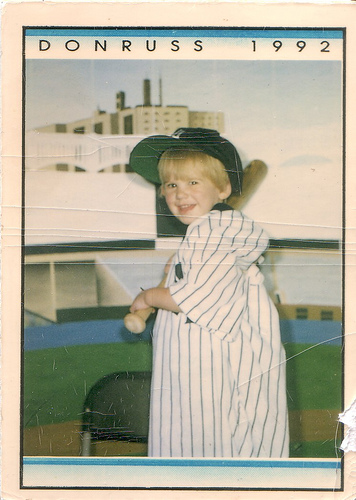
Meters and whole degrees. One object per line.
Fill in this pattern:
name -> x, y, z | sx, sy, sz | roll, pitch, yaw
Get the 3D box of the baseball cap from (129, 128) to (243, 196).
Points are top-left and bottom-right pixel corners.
baseball cap -> 0.048, -0.377, 4.083 | 0.439, 0.128, 0.264 | 7, -41, 14
